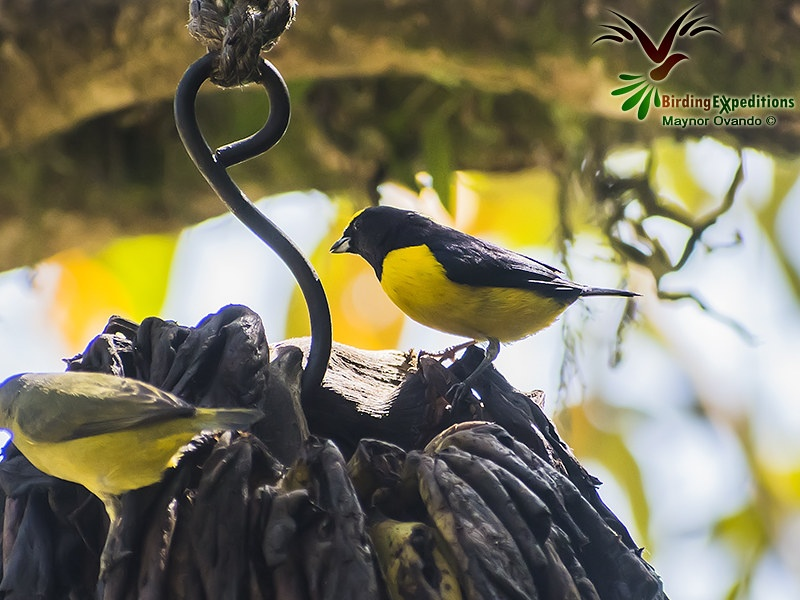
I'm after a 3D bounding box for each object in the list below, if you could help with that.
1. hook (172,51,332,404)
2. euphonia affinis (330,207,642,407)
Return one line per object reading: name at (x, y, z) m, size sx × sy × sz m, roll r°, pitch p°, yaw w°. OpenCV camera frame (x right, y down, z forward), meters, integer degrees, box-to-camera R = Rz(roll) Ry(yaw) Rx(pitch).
hook at (-0.237, -0.121, 2.509) m, size 0.237 × 0.049 × 0.700 m, roll -13°, pitch -59°, yaw -17°
euphonia affinis at (0.147, -0.097, 2.568) m, size 0.405 × 0.448 × 0.318 m, roll -8°, pitch 11°, yaw -41°
